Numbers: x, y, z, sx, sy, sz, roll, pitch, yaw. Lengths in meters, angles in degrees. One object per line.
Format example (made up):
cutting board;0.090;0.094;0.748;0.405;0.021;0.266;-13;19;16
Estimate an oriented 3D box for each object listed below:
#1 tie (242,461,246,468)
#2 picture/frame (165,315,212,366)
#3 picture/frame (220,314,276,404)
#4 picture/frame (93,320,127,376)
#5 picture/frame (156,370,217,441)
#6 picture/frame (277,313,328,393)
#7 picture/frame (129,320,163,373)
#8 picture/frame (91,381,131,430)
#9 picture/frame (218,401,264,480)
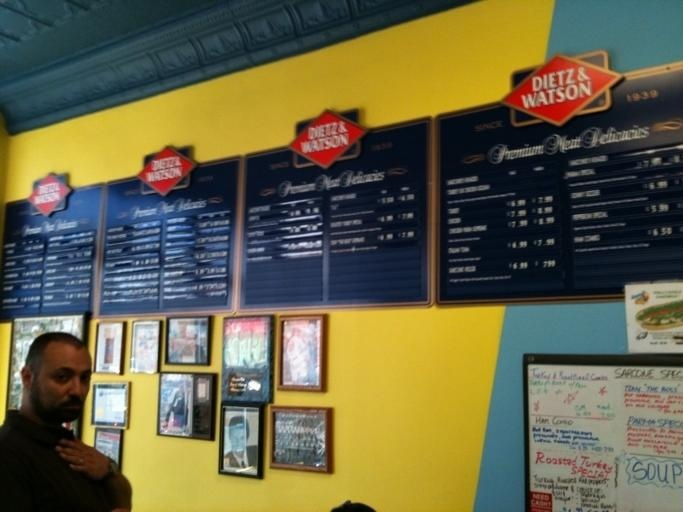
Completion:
tie;-0.582;1.239;3.425;0.026;0.045;0.026;-7;-21;10
picture/frame;-1.004;0.556;3.741;0.018;0.308;0.337;-9;-12;38
picture/frame;-0.576;0.632;3.518;0.371;0.518;0.065;-6;-15;28
picture/frame;-1.621;0.655;4.037;0.373;0.463;0.069;-7;-16;25
picture/frame;-1.030;0.968;3.734;0.045;0.402;0.493;13;-18;-39
picture/frame;-0.227;0.563;3.356;0.311;0.423;0.082;-7;-15;31
picture/frame;-1.329;0.617;3.901;0.262;0.354;0.060;-7;-15;32
picture/frame;-1.612;1.032;3.957;0.044;0.301;0.356;-9;-17;20
picture/frame;-0.590;1.120;3.446;0.480;0.520;0.055;-6;-13;29
